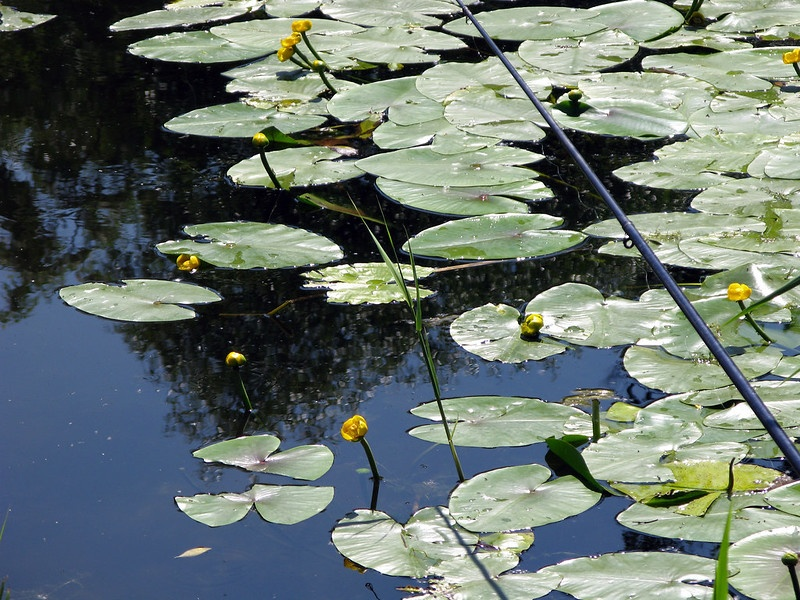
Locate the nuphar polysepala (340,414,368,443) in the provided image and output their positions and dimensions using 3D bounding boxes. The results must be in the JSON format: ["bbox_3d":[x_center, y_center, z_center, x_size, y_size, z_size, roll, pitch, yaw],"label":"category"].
[{"bbox_3d":[-0.109,0.318,2.494,0.061,0.096,0.043,-18,42,-13],"label":"nuphar polysepala"}]
